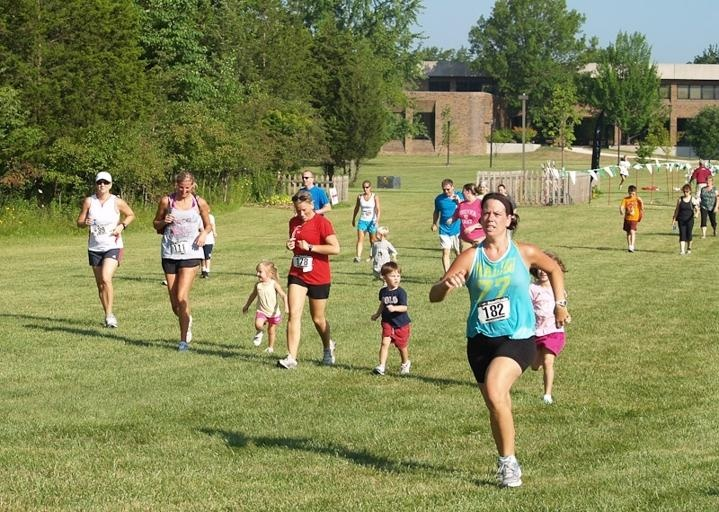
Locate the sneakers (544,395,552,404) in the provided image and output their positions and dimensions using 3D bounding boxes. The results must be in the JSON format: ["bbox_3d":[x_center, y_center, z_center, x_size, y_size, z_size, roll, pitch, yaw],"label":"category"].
[{"bbox_3d":[2.969,2.264,15.309,0.102,0.103,0.124,0,-5,-16],"label":"sneakers"}]

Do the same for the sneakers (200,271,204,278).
[{"bbox_3d":[-3.937,0.474,24.623,0.127,0.155,0.149,2,-8,-3],"label":"sneakers"}]

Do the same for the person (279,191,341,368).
[{"bbox_3d":[-0.864,0.442,16.408,1.013,2.997,0.716,-1,11,-6],"label":"person"}]

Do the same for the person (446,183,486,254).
[{"bbox_3d":[2.541,-0.526,22.504,0.815,2.233,0.678,-7,22,-5],"label":"person"}]

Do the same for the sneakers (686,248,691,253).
[{"bbox_3d":[9.792,-0.134,29.002,0.111,0.181,0.105,-1,-18,8],"label":"sneakers"}]

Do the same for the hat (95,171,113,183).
[{"bbox_3d":[-4.898,-1.490,18.765,0.267,0.228,0.297,-4,12,-21],"label":"hat"}]

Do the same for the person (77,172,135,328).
[{"bbox_3d":[-4.955,-0.128,19.167,0.971,3.062,1.525,-3,11,-15],"label":"person"}]

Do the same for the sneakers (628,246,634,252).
[{"bbox_3d":[8.150,-0.190,29.235,0.094,0.123,0.273,-2,-7,4],"label":"sneakers"}]

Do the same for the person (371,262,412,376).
[{"bbox_3d":[0.566,1.061,16.428,0.670,1.868,0.455,0,11,-3],"label":"person"}]

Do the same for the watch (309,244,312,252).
[{"bbox_3d":[-0.794,-0.136,16.155,0.049,0.070,0.076,0,17,-9],"label":"watch"}]

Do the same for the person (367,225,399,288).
[{"bbox_3d":[0.534,-0.011,22.337,0.672,1.276,0.425,2,17,6],"label":"person"}]

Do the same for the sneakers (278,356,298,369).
[{"bbox_3d":[-1.215,1.812,16.547,0.339,0.180,0.160,3,2,-9],"label":"sneakers"}]

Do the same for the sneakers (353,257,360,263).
[{"bbox_3d":[-0.062,0.108,27.268,0.109,0.113,0.229,1,-12,-1],"label":"sneakers"}]

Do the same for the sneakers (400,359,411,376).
[{"bbox_3d":[0.778,1.915,16.603,0.095,0.299,0.124,-5,-36,34],"label":"sneakers"}]

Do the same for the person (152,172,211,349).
[{"bbox_3d":[-3.167,0.081,17.574,0.949,3.155,0.726,-2,11,-12],"label":"person"}]

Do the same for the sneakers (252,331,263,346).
[{"bbox_3d":[-1.882,1.546,18.150,0.164,0.284,0.111,5,2,15],"label":"sneakers"}]

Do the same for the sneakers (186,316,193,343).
[{"bbox_3d":[-3.130,1.370,18.036,0.158,0.523,0.213,-2,-11,-2],"label":"sneakers"}]

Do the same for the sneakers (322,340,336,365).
[{"bbox_3d":[-0.490,1.642,16.966,0.155,0.502,0.217,-1,-30,14],"label":"sneakers"}]
